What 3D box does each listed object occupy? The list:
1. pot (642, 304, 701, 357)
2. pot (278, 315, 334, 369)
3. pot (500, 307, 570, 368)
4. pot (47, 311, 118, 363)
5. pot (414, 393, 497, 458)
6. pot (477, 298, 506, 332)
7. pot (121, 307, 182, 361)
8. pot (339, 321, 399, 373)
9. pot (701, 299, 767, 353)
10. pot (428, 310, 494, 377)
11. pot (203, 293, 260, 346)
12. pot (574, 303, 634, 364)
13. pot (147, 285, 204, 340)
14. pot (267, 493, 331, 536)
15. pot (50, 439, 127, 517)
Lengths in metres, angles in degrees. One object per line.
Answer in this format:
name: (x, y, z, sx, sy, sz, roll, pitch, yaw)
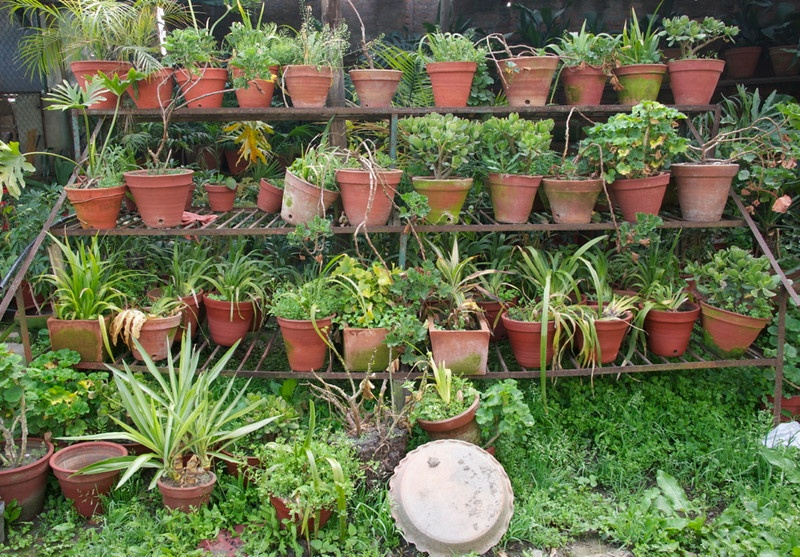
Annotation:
pot: (1.854, 0.350, 4.558, 0.339, 0.316, 0.351, 0, 6, 0)
pot: (-0.627, 0.426, 4.350, 0.336, 0.317, 0.348, 1, 5, 0)
pot: (0.884, 0.399, 4.561, 0.336, 0.286, 0.348, 1, 6, 0)
pot: (-2.126, 0.383, 4.352, 0.307, 0.249, 0.316, 1, -2, 0)
pot: (0.359, 0.916, 4.164, 0.383, 0.314, 0.395, -8, 11, 2)
pot: (0.662, 0.267, 4.762, 0.192, 0.219, 0.199, -1, 12, 0)
pot: (-1.692, 0.390, 4.528, 0.403, 0.331, 0.417, 2, 9, 0)
pot: (-0.218, 0.438, 4.364, 0.301, 0.238, 0.312, 0, 0, 0)
pot: (2.303, 0.380, 4.612, 0.422, 0.307, 0.437, 17, 9, -3)
pot: (0.410, 0.434, 4.486, 0.518, 0.298, 0.523, -2, 15, 1)
pot: (-1.194, 0.293, 4.685, 0.345, 0.293, 0.357, 3, 3, 0)
pot: (1.408, 0.393, 4.544, 0.365, 0.312, 0.380, -1, 17, 0)
pot: (-1.566, 0.223, 4.650, 0.358, 0.305, 0.368, 2, 16, -1)
pot: (-0.565, 1.338, 3.761, 0.356, 0.236, 0.147, 1, 21, -9)
pot: (-1.913, 1.260, 4.044, 0.412, 0.352, 0.436, 7, 8, -1)
